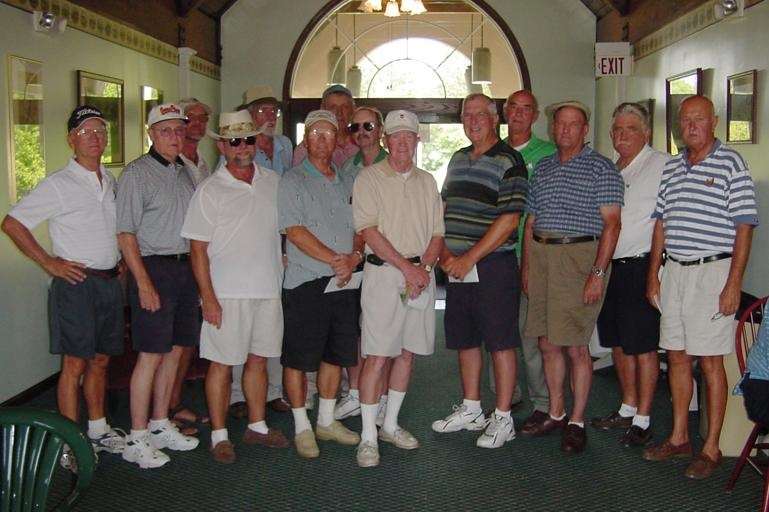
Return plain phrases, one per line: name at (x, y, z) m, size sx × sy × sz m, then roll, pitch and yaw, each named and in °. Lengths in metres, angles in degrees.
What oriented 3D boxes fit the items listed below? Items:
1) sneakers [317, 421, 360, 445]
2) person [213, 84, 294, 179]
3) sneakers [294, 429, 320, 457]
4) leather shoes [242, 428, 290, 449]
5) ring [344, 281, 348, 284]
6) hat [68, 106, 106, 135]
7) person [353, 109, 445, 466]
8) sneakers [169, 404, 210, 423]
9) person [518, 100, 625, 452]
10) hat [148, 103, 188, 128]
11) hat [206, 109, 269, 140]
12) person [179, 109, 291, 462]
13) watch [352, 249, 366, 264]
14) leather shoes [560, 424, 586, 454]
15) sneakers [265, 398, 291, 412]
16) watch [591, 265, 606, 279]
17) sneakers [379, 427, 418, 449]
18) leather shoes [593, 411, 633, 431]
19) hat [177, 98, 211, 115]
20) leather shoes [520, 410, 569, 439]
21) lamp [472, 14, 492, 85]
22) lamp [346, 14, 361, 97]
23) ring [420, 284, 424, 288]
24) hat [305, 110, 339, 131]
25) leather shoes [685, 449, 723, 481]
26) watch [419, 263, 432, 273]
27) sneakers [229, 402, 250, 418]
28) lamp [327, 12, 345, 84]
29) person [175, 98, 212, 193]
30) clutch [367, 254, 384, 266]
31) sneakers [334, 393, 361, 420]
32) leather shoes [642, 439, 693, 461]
sneakers at (-0.328, 1.244, 4.336) m, size 0.314 × 0.124 × 0.131 m, roll 1°, pitch 0°, yaw 12°
person at (-1.028, -1.055, 5.240) m, size 0.503 × 0.717 × 0.438 m, roll -8°, pitch 14°, yaw -37°
sneakers at (-0.524, 1.280, 4.181) m, size 0.111 × 0.087 × 0.213 m, roll -1°, pitch 5°, yaw -18°
leather shoes at (-0.818, 1.276, 4.320) m, size 0.326 × 0.111 × 0.121 m, roll 2°, pitch -2°, yaw 6°
ring at (-0.257, 0.174, 4.078) m, size 0.020 × 0.017 × 0.005 m, roll -2°, pitch -23°, yaw -4°
hat at (-1.969, -0.904, 4.059) m, size 0.215 × 0.164 × 0.211 m, roll -6°, pitch 13°, yaw -28°
person at (0.049, 0.190, 4.148) m, size 0.814 × 2.292 × 0.467 m, roll -9°, pitch 15°, yaw -38°
sneakers at (-1.471, 1.215, 4.724) m, size 0.356 × 0.128 × 0.114 m, roll 2°, pitch 6°, yaw -5°
person at (1.233, 0.114, 4.324) m, size 0.675 × 2.353 × 0.554 m, roll 11°, pitch 16°, yaw 42°
hat at (-1.451, -0.941, 4.113) m, size 0.248 × 0.157 × 0.178 m, roll -3°, pitch 12°, yaw -17°
hat at (-1.021, -0.909, 4.184) m, size 0.271 × 0.103 × 0.286 m, roll -5°, pitch -1°, yaw -16°
person at (-0.980, 0.188, 4.101) m, size 0.652 × 2.287 × 0.542 m, roll -4°, pitch 12°, yaw -16°
watch at (-0.176, 0.005, 4.124) m, size 0.082 × 0.093 × 0.040 m, roll 0°, pitch 2°, yaw -24°
leather shoes at (1.312, 1.265, 4.253) m, size 0.103 × 0.099 × 0.259 m, roll -1°, pitch 9°, yaw 17°
sneakers at (-0.838, 1.190, 4.886) m, size 0.209 × 0.076 × 0.076 m, roll 0°, pitch 3°, yaw 22°
watch at (1.437, 0.108, 4.117) m, size 0.077 × 0.076 × 0.079 m, roll 12°, pitch -16°, yaw -39°
sneakers at (0.107, 1.270, 4.304) m, size 0.259 × 0.088 × 0.117 m, roll 4°, pitch 3°, yaw 30°
leather shoes at (1.709, 1.245, 4.619) m, size 0.272 × 0.106 × 0.117 m, roll 1°, pitch -4°, yaw 2°
hat at (-1.661, -1.300, 5.286) m, size 0.202 × 0.090 × 0.290 m, roll 7°, pitch 7°, yaw -35°
leather shoes at (1.159, 1.235, 4.501) m, size 0.371 × 0.127 × 0.130 m, roll -2°, pitch -1°, yaw -16°
lamp at (1.308, -2.554, 8.223) m, size 0.273 × 0.486 × 0.193 m, roll 2°, pitch 12°, yaw 9°
lamp at (-0.393, -2.719, 8.309) m, size 0.160 × 1.097 × 0.212 m, roll -8°, pitch 14°, yaw -34°
ring at (0.245, 0.197, 4.030) m, size 0.023 × 0.021 × 0.005 m, roll -5°, pitch 10°, yaw -4°
hat at (-0.404, -0.914, 4.093) m, size 0.168 × 0.122 × 0.215 m, roll 10°, pitch 15°, yaw 41°
leather shoes at (2.013, 1.333, 3.893) m, size 0.104 × 0.089 × 0.288 m, roll -7°, pitch 3°, yaw 44°
watch at (0.277, 0.080, 4.110) m, size 0.066 × 0.045 × 0.063 m, roll 17°, pitch -9°, yaw -22°
sneakers at (-1.135, 1.206, 4.788) m, size 0.181 × 0.082 × 0.232 m, roll 2°, pitch 5°, yaw -3°
lamp at (-0.654, -2.828, 8.350) m, size 0.245 × 0.928 × 0.159 m, roll -2°, pitch 12°, yaw -7°
person at (-1.604, -0.931, 5.221) m, size 0.391 × 0.822 × 0.373 m, roll 1°, pitch 2°, yaw 13°
clutch at (-0.053, 0.026, 4.075) m, size 0.095 × 0.032 × 0.068 m, roll 16°, pitch -21°, yaw 14°
sneakers at (-0.337, 1.169, 4.754) m, size 0.304 × 0.131 × 0.098 m, roll -8°, pitch 33°, yaw -21°
leather shoes at (1.879, 1.310, 4.133) m, size 0.324 × 0.123 × 0.127 m, roll 0°, pitch -2°, yaw -2°
